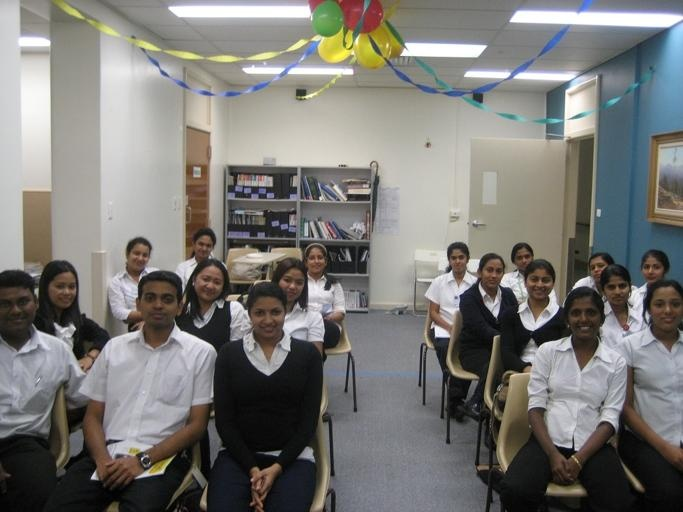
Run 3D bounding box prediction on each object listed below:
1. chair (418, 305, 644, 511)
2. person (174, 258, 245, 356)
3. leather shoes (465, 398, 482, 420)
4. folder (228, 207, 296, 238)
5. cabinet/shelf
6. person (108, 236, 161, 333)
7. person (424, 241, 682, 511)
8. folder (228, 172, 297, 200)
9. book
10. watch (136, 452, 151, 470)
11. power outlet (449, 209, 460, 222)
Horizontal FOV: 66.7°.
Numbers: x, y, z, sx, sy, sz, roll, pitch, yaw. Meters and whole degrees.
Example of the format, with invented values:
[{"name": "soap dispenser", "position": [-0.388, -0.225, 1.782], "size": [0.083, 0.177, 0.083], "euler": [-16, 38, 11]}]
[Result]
[{"name": "chair", "position": [1.490, 0.976, 3.937], "size": [1.042, 1.782, 1.105], "euler": [1, -4, -5]}, {"name": "person", "position": [-1.415, 0.351, 5.129], "size": [0.471, 1.244, 0.412], "euler": [4, -1, -17]}, {"name": "leather shoes", "position": [1.034, 1.201, 4.040], "size": [0.106, 0.128, 0.293], "euler": [1, -10, -5]}, {"name": "folder", "position": [-1.225, -0.503, 7.942], "size": [1.067, 0.442, 0.189], "euler": [3, 8, 6]}, {"name": "cabinet/shelf", "position": [-0.524, -0.317, 6.753], "size": [2.251, 2.186, 0.617], "euler": [0, 0, -1]}, {"name": "person", "position": [-1.888, 0.263, 4.838], "size": [0.473, 0.885, 0.559], "euler": [7, 10, 9]}, {"name": "person", "position": [1.458, 0.604, 3.326], "size": [0.917, 1.072, 1.752], "euler": [2, 8, -3]}, {"name": "folder", "position": [-1.209, -1.065, 7.904], "size": [1.084, 0.399, 0.171], "euler": [4, 8, 10]}, {"name": "book", "position": [-0.081, -0.739, 7.950], "size": [0.986, 0.957, 0.355], "euler": [0, 0, 1]}, {"name": "watch", "position": [-0.928, 0.964, 2.443], "size": [0.053, 0.085, 0.078], "euler": [-29, 5, -35]}, {"name": "power outlet", "position": [1.749, -0.630, 8.071], "size": [0.157, 0.216, 0.170], "euler": [1, 1, -1]}]
